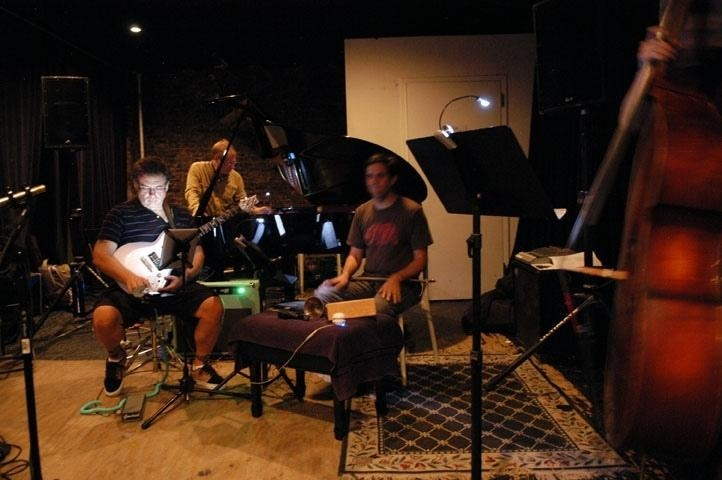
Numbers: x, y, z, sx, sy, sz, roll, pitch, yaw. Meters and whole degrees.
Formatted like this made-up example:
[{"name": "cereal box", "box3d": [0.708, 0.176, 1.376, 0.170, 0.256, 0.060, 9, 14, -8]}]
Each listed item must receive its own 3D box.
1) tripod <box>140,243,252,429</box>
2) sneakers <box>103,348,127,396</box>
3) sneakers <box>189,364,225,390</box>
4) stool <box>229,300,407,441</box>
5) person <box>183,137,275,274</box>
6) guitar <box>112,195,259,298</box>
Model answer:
[{"name": "tripod", "box3d": [-1.335, 1.020, 5.189, 1.009, 0.934, 0.981, 0, -14, 7]}, {"name": "sneakers", "box3d": [-1.984, 1.053, 4.972, 0.138, 0.365, 0.158, -1, -15, -13]}, {"name": "sneakers", "box3d": [-1.247, 1.104, 4.987, 0.356, 0.213, 0.145, 5, -6, -11]}, {"name": "stool", "box3d": [-0.493, 0.992, 4.669, 0.934, 0.647, 0.750, 3, -13, 13]}, {"name": "person", "box3d": [-1.552, -0.373, 6.707, 0.794, 1.272, 0.762, 25, 30, 26]}, {"name": "guitar", "box3d": [-1.495, 0.079, 5.228, 1.097, 0.434, 0.174, -29, 46, 1]}]
